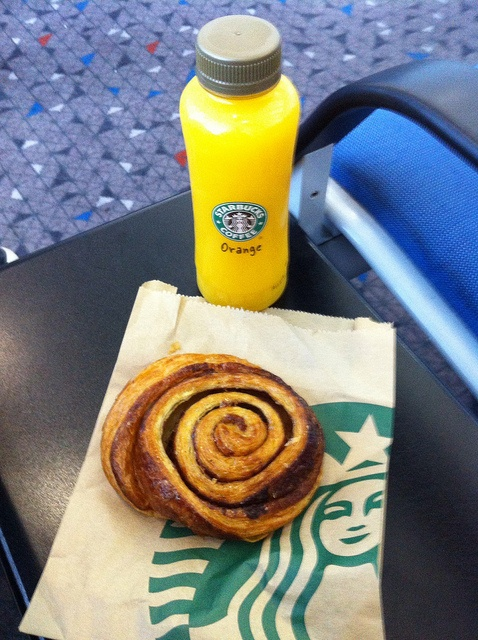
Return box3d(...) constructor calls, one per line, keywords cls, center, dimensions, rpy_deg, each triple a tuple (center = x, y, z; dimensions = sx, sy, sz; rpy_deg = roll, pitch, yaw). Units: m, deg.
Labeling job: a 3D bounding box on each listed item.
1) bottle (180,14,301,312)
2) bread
box3d(cls="bottle", center=(0.002, -0.123, 0.545), dimensions=(0.098, 0.279, 0.113), rpy_deg=(-5, 57, -3))
box3d(cls="bread", center=(-0.017, 0.118, 0.525), dimensions=(0.158, 0.049, 0.142), rpy_deg=(38, 64, 18))
